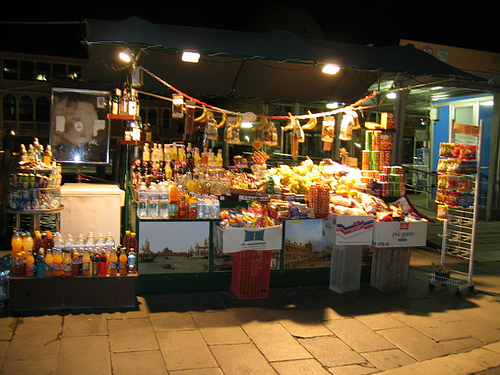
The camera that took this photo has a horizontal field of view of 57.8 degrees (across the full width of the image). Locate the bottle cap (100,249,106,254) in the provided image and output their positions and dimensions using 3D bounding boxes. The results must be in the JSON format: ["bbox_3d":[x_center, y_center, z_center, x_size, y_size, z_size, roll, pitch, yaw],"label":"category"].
[{"bbox_3d":[-2.030,0.880,6.265,0.056,0.034,0.054,-1,7,-14],"label":"bottle cap"}]

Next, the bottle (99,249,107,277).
[{"bbox_3d":[-2.025,1.035,6.239,0.103,0.349,0.172,0,12,-18],"label":"bottle"}]

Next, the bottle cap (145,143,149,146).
[{"bbox_3d":[-1.810,-0.762,7.910,0.064,0.045,0.065,1,3,4],"label":"bottle cap"}]

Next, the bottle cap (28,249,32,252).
[{"bbox_3d":[-2.978,0.843,6.123,0.031,0.011,0.028,9,27,-23],"label":"bottle cap"}]

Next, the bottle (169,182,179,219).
[{"bbox_3d":[-1.145,0.209,6.859,0.143,0.464,0.286,1,11,-10],"label":"bottle"}]

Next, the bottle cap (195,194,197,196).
[{"bbox_3d":[-0.842,0.107,7.038,0.028,0.016,0.025,-1,50,-9],"label":"bottle cap"}]

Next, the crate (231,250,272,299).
[{"bbox_3d":[0.019,1.283,6.803,0.557,0.735,0.227,2,12,-4],"label":"crate"}]

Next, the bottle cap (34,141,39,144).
[{"bbox_3d":[-3.620,-0.764,7.667,0.061,0.051,0.061,3,2,42],"label":"bottle cap"}]

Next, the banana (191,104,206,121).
[{"bbox_3d":[-0.879,-1.319,7.997,0.196,0.274,0.239,2,11,-5],"label":"banana"}]

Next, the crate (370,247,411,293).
[{"bbox_3d":[2.286,1.306,7.598,0.658,0.680,0.656,5,8,-5],"label":"crate"}]

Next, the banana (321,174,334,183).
[{"bbox_3d":[1.298,-0.136,7.636,0.240,0.076,0.169,9,12,31],"label":"banana"}]

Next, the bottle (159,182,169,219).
[{"bbox_3d":[-1.291,0.197,6.816,0.152,0.478,0.312,1,11,-11],"label":"bottle"}]

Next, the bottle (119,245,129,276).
[{"bbox_3d":[-1.774,1.024,6.379,0.134,0.353,0.252,0,12,-17],"label":"bottle"}]

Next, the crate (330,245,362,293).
[{"bbox_3d":[1.526,1.273,7.319,0.470,0.723,0.497,3,10,-24],"label":"crate"}]

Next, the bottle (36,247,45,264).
[{"bbox_3d":[-2.824,0.917,6.100,0.102,0.183,0.123,-3,13,-27],"label":"bottle"}]

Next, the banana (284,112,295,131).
[{"bbox_3d":[0.734,-1.199,8.093,0.093,0.260,0.207,8,-5,-7],"label":"banana"}]

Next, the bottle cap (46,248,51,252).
[{"bbox_3d":[-2.737,0.843,6.151,0.033,0.027,0.030,2,-5,13],"label":"bottle cap"}]

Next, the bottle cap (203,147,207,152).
[{"bbox_3d":[-0.796,-0.682,8.013,0.075,0.072,0.070,0,2,-18],"label":"bottle cap"}]

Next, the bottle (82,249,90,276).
[{"bbox_3d":[-2.255,1.024,6.224,0.103,0.320,0.216,-1,12,-19],"label":"bottle"}]

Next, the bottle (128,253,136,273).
[{"bbox_3d":[-1.660,1.059,6.414,0.124,0.269,0.100,-6,14,-37],"label":"bottle"}]

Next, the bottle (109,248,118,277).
[{"bbox_3d":[-1.899,1.037,6.301,0.114,0.349,0.223,0,12,-18],"label":"bottle"}]

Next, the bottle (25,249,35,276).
[{"bbox_3d":[-2.958,1.011,6.081,0.116,0.324,0.155,-4,14,-32],"label":"bottle"}]

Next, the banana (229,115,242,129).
[{"bbox_3d":[-0.230,-1.170,8.088,0.140,0.222,0.504,5,11,10],"label":"banana"}]

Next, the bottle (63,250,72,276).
[{"bbox_3d":[-2.460,1.017,6.140,0.104,0.328,0.112,3,12,-1],"label":"bottle"}]

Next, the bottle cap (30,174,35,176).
[{"bbox_3d":[-3.176,-0.186,6.609,0.058,0.021,0.026,-2,12,-25],"label":"bottle cap"}]

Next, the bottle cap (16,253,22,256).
[{"bbox_3d":[-3.080,0.890,6.036,0.074,0.037,0.043,-1,11,-18],"label":"bottle cap"}]

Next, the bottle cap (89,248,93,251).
[{"bbox_3d":[-2.226,0.864,6.314,0.039,0.025,0.037,2,0,-19],"label":"bottle cap"}]
